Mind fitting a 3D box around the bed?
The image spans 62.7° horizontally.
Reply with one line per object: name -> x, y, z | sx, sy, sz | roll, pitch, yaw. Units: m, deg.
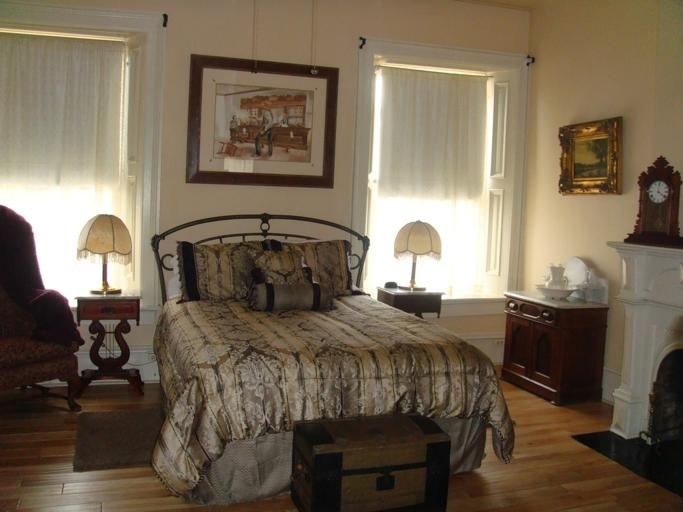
bed -> -0.413, 0.502, 4.086 | 1.654, 1.171, 2.080 | -2, 6, -17

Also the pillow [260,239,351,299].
pillow -> -0.169, 0.102, 4.720 | 0.499, 0.515, 0.200 | -3, -19, -29

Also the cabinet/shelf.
cabinet/shelf -> 1.927, 0.625, 5.029 | 0.595, 1.185, 0.770 | -2, 11, -21

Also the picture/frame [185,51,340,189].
picture/frame -> -0.774, -1.248, 5.045 | 1.203, 1.048, 0.101 | 2, 7, -14

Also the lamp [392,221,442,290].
lamp -> 0.706, -0.014, 5.425 | 0.569, 0.793, 0.562 | 2, 2, 4

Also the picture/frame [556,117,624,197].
picture/frame -> 2.207, -0.870, 4.936 | 0.105, 0.773, 0.741 | -2, 3, -24

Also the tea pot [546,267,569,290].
tea pot -> 1.908, 0.185, 4.979 | 0.193, 0.268, 0.197 | 2, 4, 0
